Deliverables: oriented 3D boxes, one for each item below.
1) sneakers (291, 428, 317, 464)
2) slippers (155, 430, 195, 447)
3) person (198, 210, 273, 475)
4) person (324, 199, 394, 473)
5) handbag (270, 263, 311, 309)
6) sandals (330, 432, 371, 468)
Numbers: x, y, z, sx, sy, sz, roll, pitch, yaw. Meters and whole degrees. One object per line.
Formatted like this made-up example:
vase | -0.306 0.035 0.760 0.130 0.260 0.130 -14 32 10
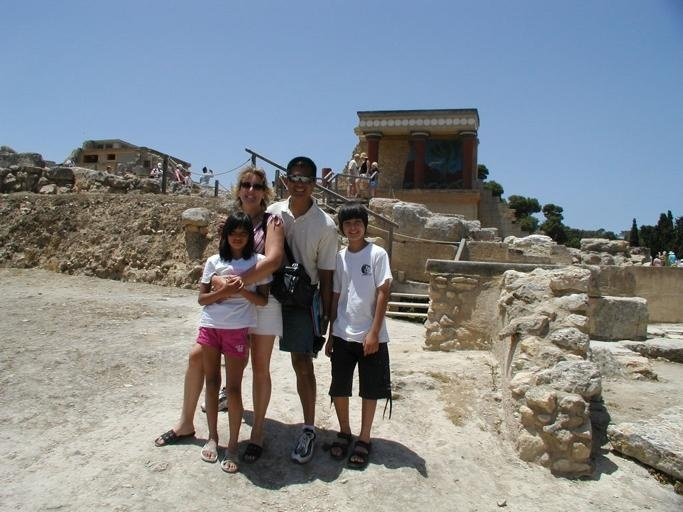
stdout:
sneakers | -0.265 1.400 3.605 0.140 0.209 0.268 8 15 27
slippers | -1.239 1.338 3.553 0.213 0.068 0.111 6 -1 -19
person | -0.831 0.581 3.478 0.507 1.712 0.696 4 13 9
person | 0.146 0.562 3.627 0.519 1.829 0.778 3 13 6
handbag | -0.396 0.217 3.607 0.321 0.332 0.244 0 13 -11
sandals | 0.071 1.422 3.552 0.177 0.080 0.262 3 -4 11
